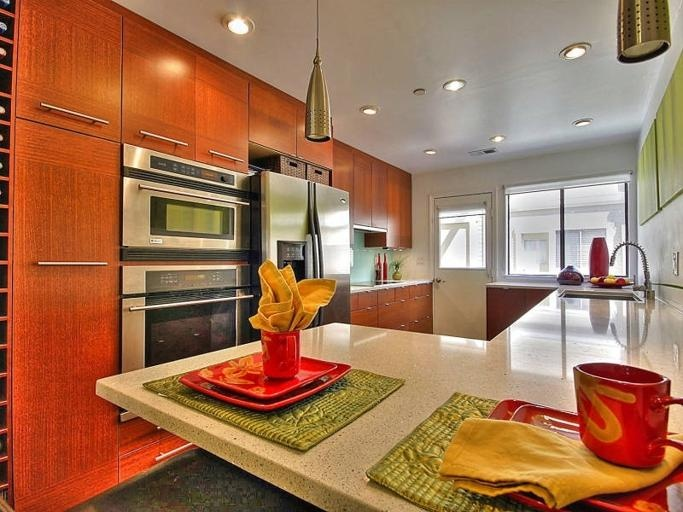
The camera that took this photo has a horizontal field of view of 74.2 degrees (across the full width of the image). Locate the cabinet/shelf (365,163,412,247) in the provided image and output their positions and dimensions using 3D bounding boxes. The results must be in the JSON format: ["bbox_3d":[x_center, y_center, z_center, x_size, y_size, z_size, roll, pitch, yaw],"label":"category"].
[{"bbox_3d":[0.524,-0.607,5.304,0.276,0.913,0.897,-3,-6,33],"label":"cabinet/shelf"}]

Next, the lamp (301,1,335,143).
[{"bbox_3d":[-0.093,-0.631,1.730,0.099,0.367,0.162,-2,11,-5],"label":"lamp"}]

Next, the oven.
[{"bbox_3d":[-1.019,0.073,2.890,0.777,1.399,0.653,-1,11,-33],"label":"oven"}]

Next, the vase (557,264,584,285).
[{"bbox_3d":[2.104,0.175,4.183,0.188,0.166,0.186,1,-4,-30],"label":"vase"}]

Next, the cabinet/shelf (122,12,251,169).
[{"bbox_3d":[-0.924,-0.973,2.604,0.330,0.691,0.818,-2,-3,34],"label":"cabinet/shelf"}]

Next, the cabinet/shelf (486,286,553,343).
[{"bbox_3d":[1.331,0.402,3.370,0.548,0.532,0.295,-1,-4,34],"label":"cabinet/shelf"}]

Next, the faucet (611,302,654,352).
[{"bbox_3d":[1.280,0.304,1.961,0.057,0.141,0.271,19,12,24],"label":"faucet"}]

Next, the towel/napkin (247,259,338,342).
[{"bbox_3d":[-0.148,0.144,1.308,0.222,0.099,0.209,-10,33,-25],"label":"towel/napkin"}]

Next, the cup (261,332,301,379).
[{"bbox_3d":[-0.182,0.274,1.341,0.105,0.148,0.157,-1,9,-12],"label":"cup"}]

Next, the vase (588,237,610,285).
[{"bbox_3d":[2.407,0.038,4.190,0.178,0.184,0.627,-11,-48,21],"label":"vase"}]
